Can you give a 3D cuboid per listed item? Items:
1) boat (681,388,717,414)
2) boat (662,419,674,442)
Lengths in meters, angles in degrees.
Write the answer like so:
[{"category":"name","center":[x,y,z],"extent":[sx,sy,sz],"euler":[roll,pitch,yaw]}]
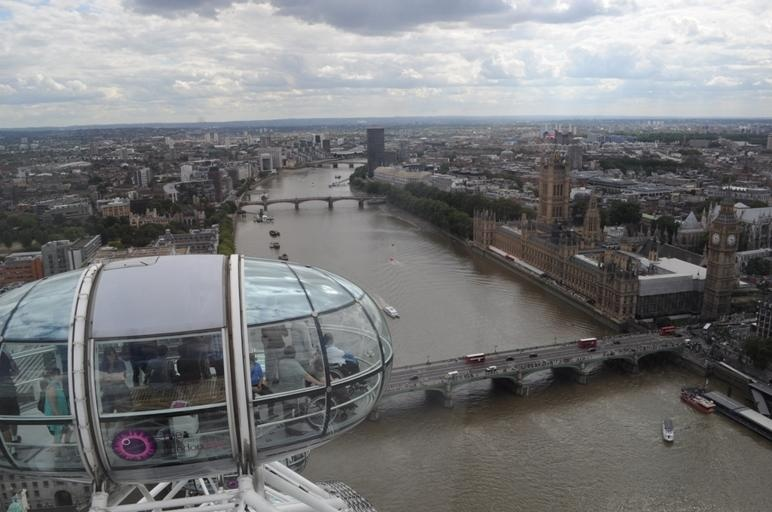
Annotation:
[{"category":"boat","center":[7.456,3.474,14.083],"extent":[0.362,0.167,0.535],"euler":[6,20,-24]},{"category":"boat","center":[6.154,3.813,12.854],"extent":[0.267,0.421,0.587],"euler":[-7,-10,24]}]
